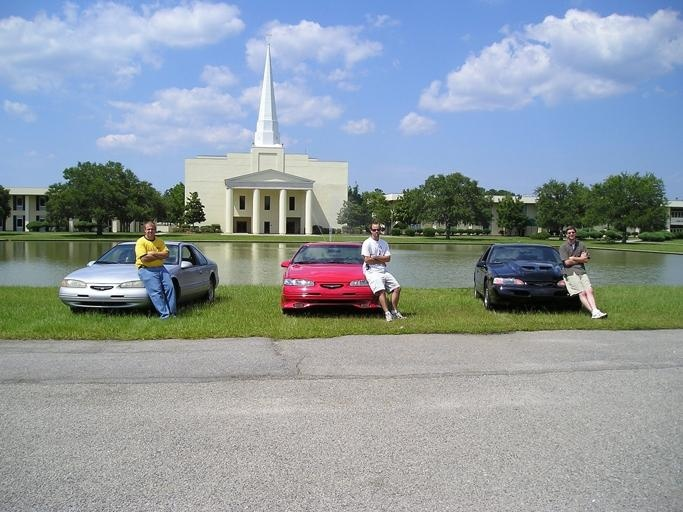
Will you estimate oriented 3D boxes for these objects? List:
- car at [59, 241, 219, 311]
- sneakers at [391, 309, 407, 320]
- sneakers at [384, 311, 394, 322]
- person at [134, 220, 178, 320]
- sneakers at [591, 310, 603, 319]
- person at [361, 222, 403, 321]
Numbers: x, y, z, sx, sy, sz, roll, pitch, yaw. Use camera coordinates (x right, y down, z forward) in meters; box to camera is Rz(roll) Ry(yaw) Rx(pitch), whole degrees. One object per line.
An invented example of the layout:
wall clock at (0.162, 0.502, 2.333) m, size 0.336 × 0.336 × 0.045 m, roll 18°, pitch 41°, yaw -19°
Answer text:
car at (-4.083, 0.474, 14.073) m, size 1.461 × 1.049 × 3.350 m, roll 0°, pitch -3°, yaw 12°
sneakers at (1.091, 1.137, 12.636) m, size 0.343 × 0.170 × 0.120 m, roll 7°, pitch 9°, yaw 30°
sneakers at (0.910, 1.158, 12.431) m, size 0.143 × 0.184 × 0.417 m, roll -1°, pitch -6°, yaw -3°
person at (-3.585, 0.253, 12.519) m, size 0.725 × 1.875 × 0.763 m, roll -3°, pitch 8°, yaw -19°
sneakers at (5.022, 1.151, 12.716) m, size 0.270 × 0.147 × 0.108 m, roll -2°, pitch 8°, yaw -3°
person at (0.785, 0.281, 12.446) m, size 0.768 × 1.858 × 0.631 m, roll -1°, pitch 7°, yaw -9°
